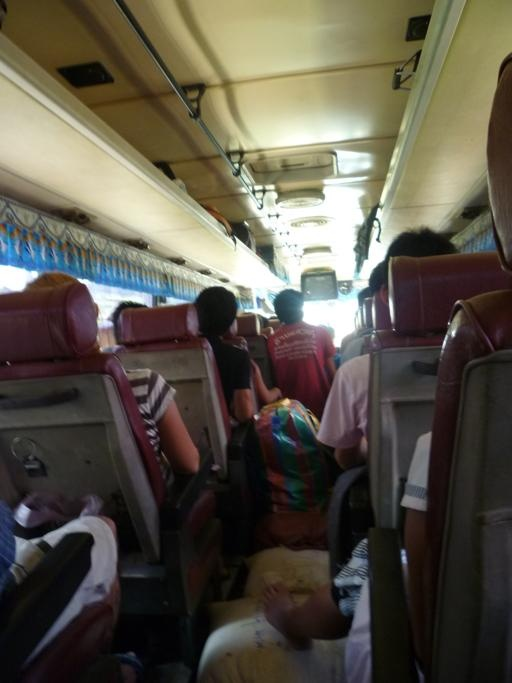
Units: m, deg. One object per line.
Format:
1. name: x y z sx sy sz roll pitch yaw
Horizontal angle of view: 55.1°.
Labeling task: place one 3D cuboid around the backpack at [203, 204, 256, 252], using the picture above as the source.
1. backpack: -0.154 -1.265 5.444 0.269 0.698 0.205 -48 -12 20

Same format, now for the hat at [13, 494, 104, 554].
1. hat: -0.566 0.502 1.474 0.320 0.205 0.100 -12 -25 34

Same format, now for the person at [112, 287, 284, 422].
1. person: -0.426 0.144 3.415 0.697 1.059 0.861 -7 -7 18

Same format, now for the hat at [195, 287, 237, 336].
1. hat: -0.213 -0.196 3.089 0.226 0.298 0.306 3 11 1

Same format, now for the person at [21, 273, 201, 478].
1. person: -0.332 0.109 1.804 0.500 0.666 0.762 7 -13 -8

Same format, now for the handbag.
1. handbag: 0.173 0.781 2.909 0.394 0.795 0.582 -11 -12 -4
